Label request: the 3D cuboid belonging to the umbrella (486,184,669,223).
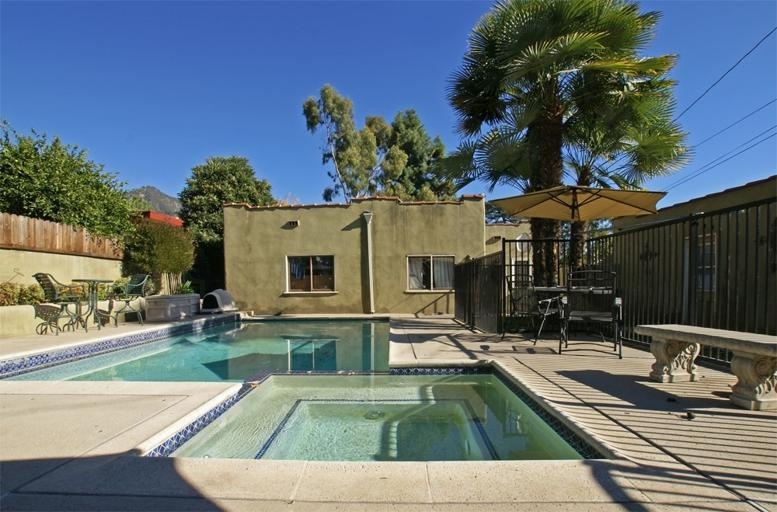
[{"bbox_3d":[4.589,-1.260,13.167,3.551,0.926,1.552,-2,6,7],"label":"umbrella"}]
